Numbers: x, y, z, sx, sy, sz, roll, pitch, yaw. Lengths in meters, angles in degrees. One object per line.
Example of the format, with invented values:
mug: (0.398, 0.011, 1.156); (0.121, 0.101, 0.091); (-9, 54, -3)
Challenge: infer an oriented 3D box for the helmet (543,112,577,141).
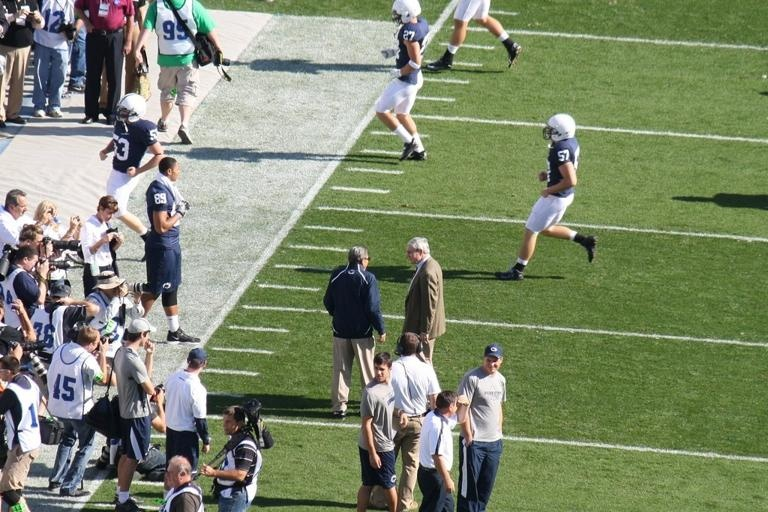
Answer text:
helmet: (2.678, -1.981, 25.602); (0.471, 0.369, 0.364); (9, 39, 13)

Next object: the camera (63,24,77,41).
camera: (-5.374, -3.818, 28.228); (0.247, 0.436, 0.112); (-2, 10, -24)

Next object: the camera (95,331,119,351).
camera: (-3.861, 1.208, 23.321); (0.229, 0.296, 0.116); (-2, 8, -37)

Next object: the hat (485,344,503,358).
hat: (1.429, 1.281, 22.326); (0.224, 0.170, 0.273); (4, 12, -1)

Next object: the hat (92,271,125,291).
hat: (-3.922, 0.370, 23.488); (0.417, 0.267, 0.278); (4, 12, -3)

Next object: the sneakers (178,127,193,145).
sneakers: (-3.472, -2.085, 28.524); (0.141, 0.379, 0.161); (-14, 47, 18)

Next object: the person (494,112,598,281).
person: (2.543, -0.880, 25.811); (1.452, 2.634, 0.615); (4, 12, 0)

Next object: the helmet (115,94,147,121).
helmet: (-3.865, -2.304, 25.315); (0.476, 0.388, 0.345); (8, 54, -18)

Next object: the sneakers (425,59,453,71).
sneakers: (0.991, -3.592, 31.483); (0.521, 0.238, 0.188); (2, 43, -1)

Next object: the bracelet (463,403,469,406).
bracelet: (1.042, 1.993, 22.102); (0.042, 0.040, 0.038); (-8, 13, -38)

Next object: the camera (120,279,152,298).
camera: (-3.641, 0.494, 24.465); (0.341, 0.235, 0.287); (2, 12, -9)

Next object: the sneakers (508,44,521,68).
sneakers: (2.378, -3.793, 31.198); (0.261, 0.525, 0.177); (26, 59, 10)

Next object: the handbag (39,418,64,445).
handbag: (-4.485, 2.354, 22.209); (0.293, 0.280, 0.167); (17, 8, 3)

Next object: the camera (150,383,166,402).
camera: (-3.082, 1.866, 22.383); (0.068, 0.192, 0.141); (23, -1, -39)

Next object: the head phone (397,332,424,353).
head phone: (0.327, 1.205, 22.747); (0.336, 0.290, 0.137); (-1, 1, -5)

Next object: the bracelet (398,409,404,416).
bracelet: (0.192, 2.125, 22.339); (0.066, 0.064, 0.063); (8, -11, 32)

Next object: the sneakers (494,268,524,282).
sneakers: (1.915, 0.298, 25.961); (0.472, 0.209, 0.173); (5, 5, 8)

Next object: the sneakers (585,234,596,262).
sneakers: (3.187, -0.116, 26.075); (0.185, 0.403, 0.137); (-3, 9, 10)

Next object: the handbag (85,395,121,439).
handbag: (-3.801, 2.175, 22.257); (0.453, 0.462, 0.261); (28, 6, 3)

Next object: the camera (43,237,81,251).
camera: (-4.700, -0.167, 23.999); (0.538, 0.166, 0.207); (9, 45, 2)

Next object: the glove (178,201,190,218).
glove: (-2.991, -0.704, 24.423); (0.167, 0.079, 0.222); (15, 57, -4)
